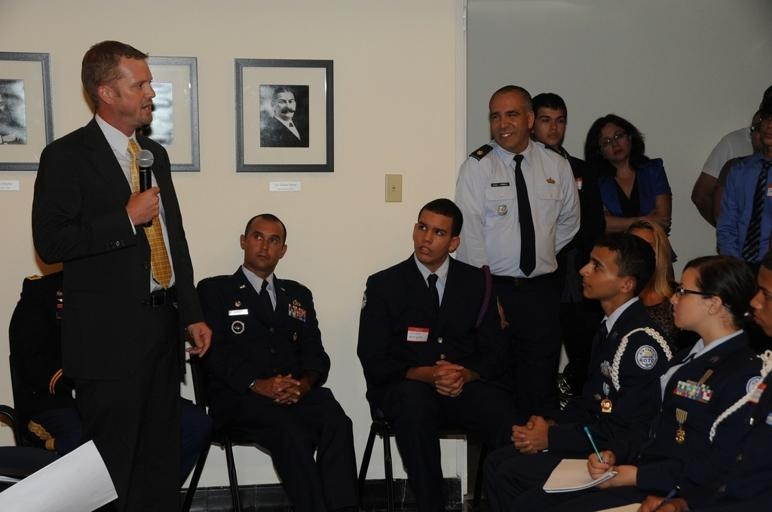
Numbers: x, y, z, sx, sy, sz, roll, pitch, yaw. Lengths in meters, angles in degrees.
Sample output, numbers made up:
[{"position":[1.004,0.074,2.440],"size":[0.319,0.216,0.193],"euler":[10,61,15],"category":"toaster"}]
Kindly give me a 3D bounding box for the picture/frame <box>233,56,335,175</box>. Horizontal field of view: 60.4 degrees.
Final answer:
[{"position":[-0.650,-0.878,4.049],"size":[0.713,0.799,0.033],"euler":[-1,2,-9],"category":"picture/frame"}]

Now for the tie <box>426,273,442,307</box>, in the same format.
[{"position":[0.273,0.191,3.765],"size":[0.057,0.195,0.051],"euler":[-6,-17,-4],"category":"tie"}]

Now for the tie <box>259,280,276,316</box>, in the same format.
[{"position":[-0.697,0.241,3.877],"size":[0.093,0.167,0.038],"euler":[-8,-4,-39],"category":"tie"}]

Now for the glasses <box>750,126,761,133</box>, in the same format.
[{"position":[2.488,-0.857,4.499],"size":[0.037,0.014,0.027],"euler":[10,-33,-1],"category":"glasses"}]

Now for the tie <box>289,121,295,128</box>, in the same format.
[{"position":[-0.582,-0.804,4.059],"size":[0.043,0.044,0.010],"euler":[0,-1,-7],"category":"tie"}]

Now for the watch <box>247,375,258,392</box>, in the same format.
[{"position":[-0.747,0.717,3.724],"size":[0.051,0.049,0.053],"euler":[-28,23,31],"category":"watch"}]

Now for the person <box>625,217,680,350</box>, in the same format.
[{"position":[1.371,0.159,3.494],"size":[0.207,0.743,0.209],"euler":[-12,16,18],"category":"person"}]

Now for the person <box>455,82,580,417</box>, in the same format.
[{"position":[0.846,0.215,4.191],"size":[0.886,2.520,0.684],"euler":[-4,9,-15],"category":"person"}]

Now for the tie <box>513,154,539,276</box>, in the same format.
[{"position":[0.839,-0.239,4.008],"size":[0.095,0.711,0.077],"euler":[1,-8,-17],"category":"tie"}]
